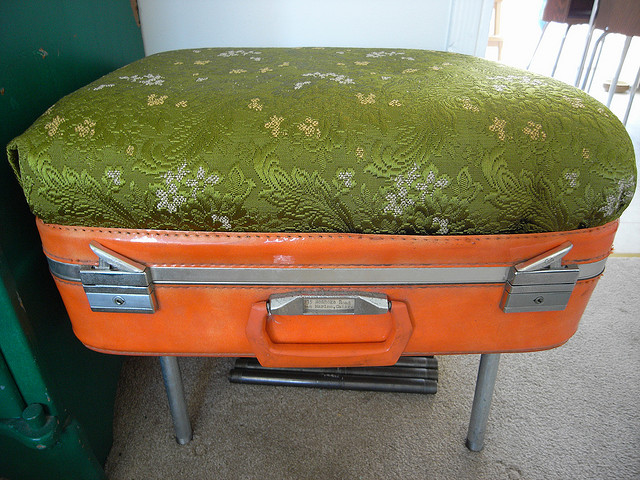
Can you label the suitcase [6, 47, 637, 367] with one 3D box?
[{"bbox_3d":[0.007,-0.044,0.885,0.975,0.392,0.365,-1,36,-1],"label":"suitcase"}]
